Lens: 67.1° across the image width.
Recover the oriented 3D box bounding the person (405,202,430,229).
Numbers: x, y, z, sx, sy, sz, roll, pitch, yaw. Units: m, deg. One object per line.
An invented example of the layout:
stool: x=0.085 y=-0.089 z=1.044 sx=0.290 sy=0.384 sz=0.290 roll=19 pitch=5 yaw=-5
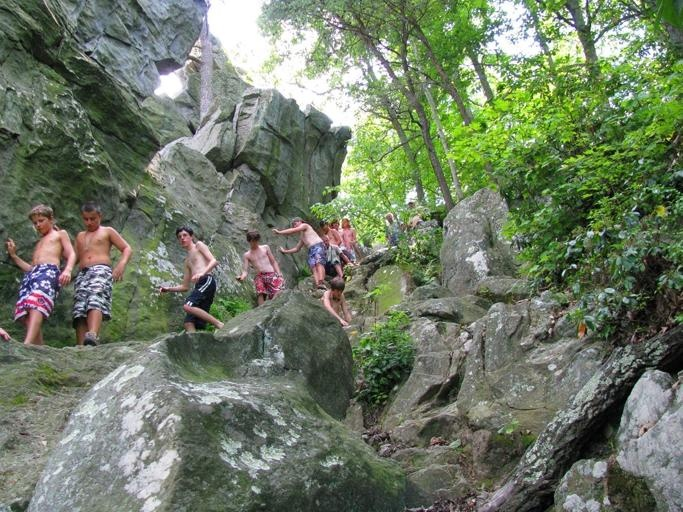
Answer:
person: x=2.493 y=-1.202 z=16.893 sx=0.798 sy=0.836 sz=0.579 roll=21 pitch=-21 yaw=-30

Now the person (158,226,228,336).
person: x=-2.824 y=0.506 z=9.534 sx=0.798 sy=1.699 sz=0.718 roll=20 pitch=-69 yaw=-31

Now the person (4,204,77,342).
person: x=-4.192 y=0.268 z=7.279 sx=0.882 sy=2.078 sz=0.507 roll=1 pitch=-23 yaw=9

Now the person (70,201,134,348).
person: x=-3.710 y=0.336 z=7.687 sx=0.797 sy=2.009 sz=0.631 roll=17 pitch=-26 yaw=-27

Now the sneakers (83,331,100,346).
sneakers: x=-3.440 y=1.133 z=7.068 sx=0.135 sy=0.237 sz=0.255 roll=-10 pitch=-64 yaw=-12

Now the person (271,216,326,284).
person: x=-1.126 y=0.060 z=13.807 sx=1.282 sy=2.118 sz=0.915 roll=-4 pitch=-26 yaw=-16
